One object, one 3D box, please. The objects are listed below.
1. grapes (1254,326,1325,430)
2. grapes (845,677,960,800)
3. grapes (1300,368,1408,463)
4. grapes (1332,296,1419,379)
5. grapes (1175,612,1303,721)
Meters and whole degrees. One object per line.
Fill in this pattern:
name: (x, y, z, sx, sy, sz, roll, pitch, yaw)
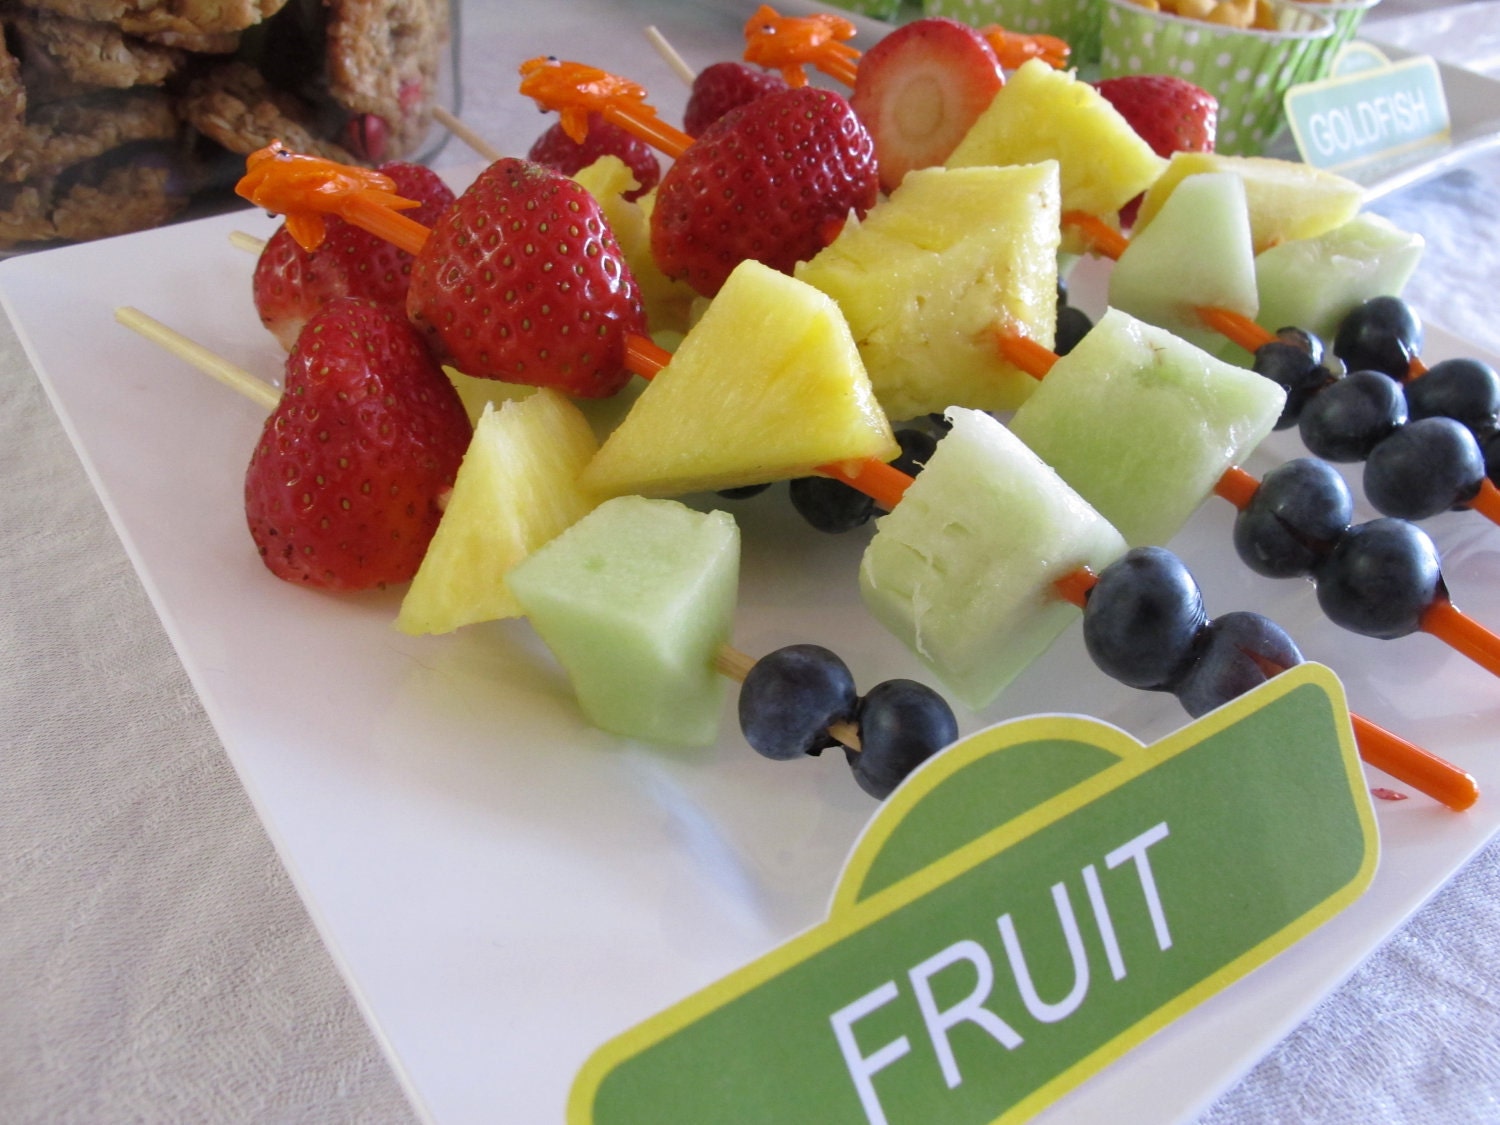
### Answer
grapes: (0.703, -0.237, 1.966, 0.083, 0.069, 0.117, -10, 56, 42)
grapes: (0.158, 0.182, 1.656, 0.085, 0.106, 0.121, -37, 3, 33)
grapes: (0.741, -0.177, 1.863, 0.114, 0.061, 0.103, -20, 72, 28)
grapes: (0.820, -0.292, 1.966, 0.083, 0.069, 0.111, -27, 31, -1)
grapes: (0.510, 0.108, 1.596, 0.109, 0.089, 0.093, -16, 51, -15)
